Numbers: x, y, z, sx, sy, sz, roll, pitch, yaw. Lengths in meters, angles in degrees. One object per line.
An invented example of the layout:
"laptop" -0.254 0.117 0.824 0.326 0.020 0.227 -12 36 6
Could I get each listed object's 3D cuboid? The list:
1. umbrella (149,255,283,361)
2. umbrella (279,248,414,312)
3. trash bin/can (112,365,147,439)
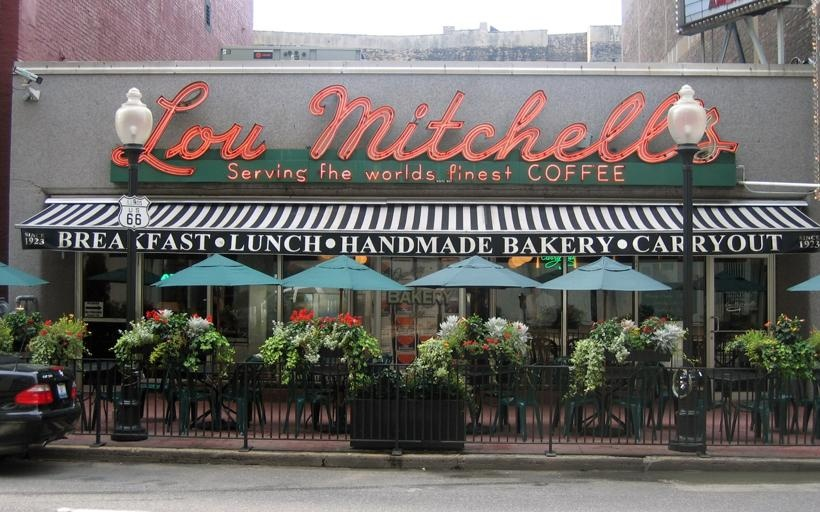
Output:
"umbrella" -4.941 1.394 30.482 3.055 1.882 2.969 2 -3 -36
"umbrella" -1.732 0.411 29.611 2.841 0.972 1.228 0 -11 -2
"trash bin/can" -6.620 3.512 27.651 0.795 1.702 0.437 1 -12 -8
